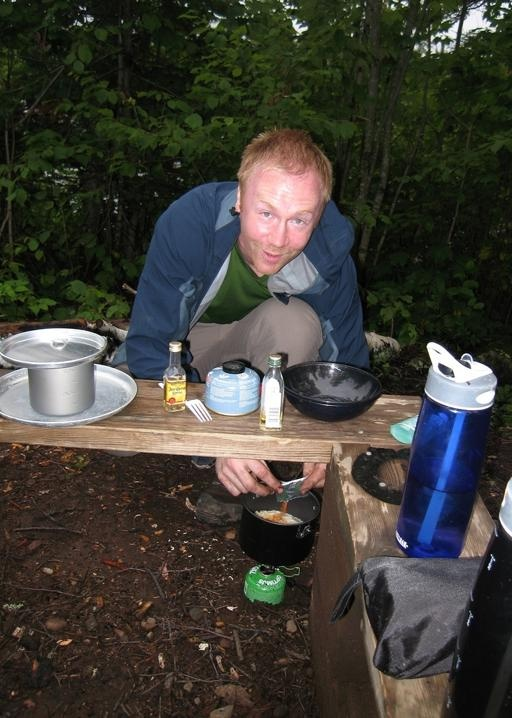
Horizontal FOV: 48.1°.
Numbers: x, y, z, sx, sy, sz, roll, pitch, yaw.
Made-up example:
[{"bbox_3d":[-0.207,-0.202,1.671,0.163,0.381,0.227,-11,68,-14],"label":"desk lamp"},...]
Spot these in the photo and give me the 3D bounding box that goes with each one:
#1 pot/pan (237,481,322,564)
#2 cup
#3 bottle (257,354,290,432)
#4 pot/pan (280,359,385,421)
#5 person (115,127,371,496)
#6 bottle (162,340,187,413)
[{"bbox_3d":[0.059,0.621,2.177,0.303,0.217,0.315,13,21,-10],"label":"pot/pan"},{"bbox_3d":[-0.502,0.072,1.591,0.175,0.166,0.165,3,19,-1],"label":"cup"},{"bbox_3d":[0.055,0.081,1.663,0.077,0.209,0.171,9,19,1],"label":"bottle"},{"bbox_3d":[0.226,0.105,1.799,0.298,0.111,0.354,8,18,3],"label":"pot/pan"},{"bbox_3d":[-0.059,-0.278,2.525,1.302,1.376,1.027,7,29,-10],"label":"person"},{"bbox_3d":[-0.233,0.042,1.714,0.071,0.209,0.107,6,19,-7],"label":"bottle"}]
